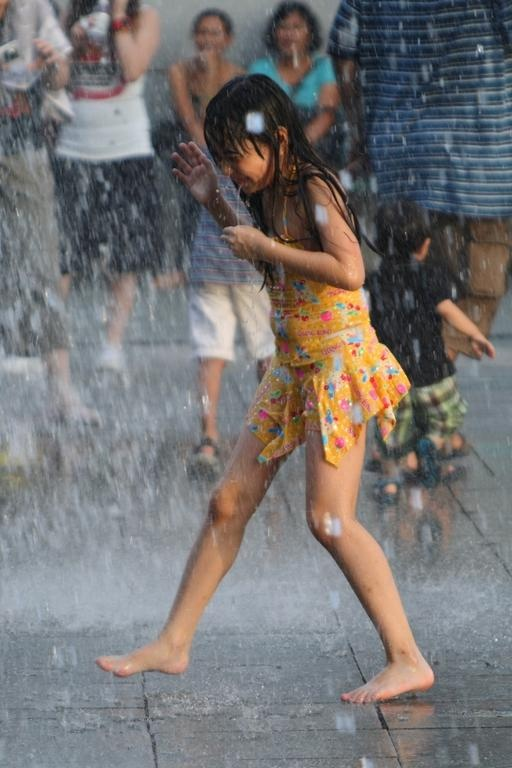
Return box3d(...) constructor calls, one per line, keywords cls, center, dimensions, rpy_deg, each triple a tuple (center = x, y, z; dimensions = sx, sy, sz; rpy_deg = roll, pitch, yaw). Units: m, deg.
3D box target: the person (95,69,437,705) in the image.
box3d(cls="person", center=(0.054, -0.017, 2.626), dimensions=(0.760, 1.380, 0.534), rpy_deg=(2, 11, 9))
